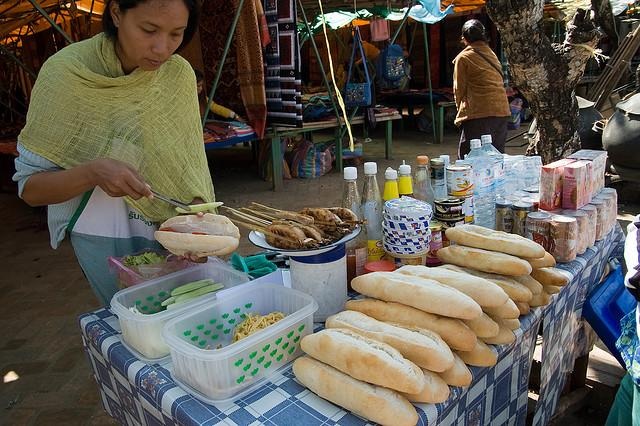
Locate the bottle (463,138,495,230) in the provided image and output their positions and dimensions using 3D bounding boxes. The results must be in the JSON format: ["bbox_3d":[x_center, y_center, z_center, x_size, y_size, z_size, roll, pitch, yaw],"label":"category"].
[{"bbox_3d":[1.051,-0.171,3.053,0.205,0.601,0.190,-2,-2,0],"label":"bottle"}]

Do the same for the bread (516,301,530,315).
[{"bbox_3d":[1.061,0.501,2.425,0.061,0.090,0.021,-22,15,-3],"label":"bread"}]

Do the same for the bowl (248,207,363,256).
[{"bbox_3d":[-0.128,0.016,2.529,0.592,0.264,0.557,-1,8,0],"label":"bowl"}]

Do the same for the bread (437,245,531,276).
[{"bbox_3d":[0.937,0.327,2.632,0.443,0.138,0.132,10,-17,22],"label":"bread"}]

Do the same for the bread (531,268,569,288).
[{"bbox_3d":[1.245,0.348,2.509,0.164,0.049,0.099,-3,31,-15],"label":"bread"}]

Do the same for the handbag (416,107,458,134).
[{"bbox_3d":[3.221,-2.730,13.100,0.878,0.824,0.537,-3,19,4],"label":"handbag"}]

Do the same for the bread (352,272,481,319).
[{"bbox_3d":[0.466,0.395,2.292,0.687,0.207,0.157,6,45,27],"label":"bread"}]

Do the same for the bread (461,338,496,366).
[{"bbox_3d":[0.743,0.685,2.235,0.090,0.061,0.179,-35,47,-27],"label":"bread"}]

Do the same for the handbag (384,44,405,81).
[{"bbox_3d":[1.736,-3.599,10.947,0.435,0.737,0.761,-1,13,13],"label":"handbag"}]

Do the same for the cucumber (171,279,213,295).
[{"bbox_3d":[-0.691,0.395,2.481,0.144,0.029,0.086,-9,14,-26],"label":"cucumber"}]

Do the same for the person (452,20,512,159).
[{"bbox_3d":[2.199,-1.673,6.236,0.753,1.851,0.607,-6,14,-6],"label":"person"}]

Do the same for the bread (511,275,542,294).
[{"bbox_3d":[1.081,0.370,2.455,0.080,0.046,0.151,-27,57,-33],"label":"bread"}]

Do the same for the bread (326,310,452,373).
[{"bbox_3d":[0.421,0.534,2.348,0.595,0.214,0.570,3,8,33],"label":"bread"}]

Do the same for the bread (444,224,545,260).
[{"bbox_3d":[0.939,0.149,2.522,0.400,0.089,0.212,13,3,30],"label":"bread"}]

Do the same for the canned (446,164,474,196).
[{"bbox_3d":[0.854,-0.196,2.836,0.182,0.195,0.178,-16,14,-34],"label":"canned"}]

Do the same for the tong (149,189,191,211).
[{"bbox_3d":[-0.817,-0.072,2.539,0.193,0.142,0.124,-8,14,-16],"label":"tong"}]

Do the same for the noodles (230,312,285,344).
[{"bbox_3d":[-0.316,0.551,2.276,0.228,0.153,0.266,-3,8,-43],"label":"noodles"}]

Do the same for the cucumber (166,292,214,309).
[{"bbox_3d":[-0.673,0.453,2.359,0.149,0.024,0.094,-22,5,-32],"label":"cucumber"}]

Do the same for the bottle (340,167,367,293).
[{"bbox_3d":[0.185,0.080,2.655,0.111,0.739,0.121,3,-2,0],"label":"bottle"}]

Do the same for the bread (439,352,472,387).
[{"bbox_3d":[0.625,0.752,2.169,0.101,0.062,0.185,-7,21,-6],"label":"bread"}]

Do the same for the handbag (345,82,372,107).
[{"bbox_3d":[0.730,-2.340,9.098,0.526,0.469,0.416,-2,13,11],"label":"handbag"}]

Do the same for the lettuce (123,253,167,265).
[{"bbox_3d":[-1.006,0.266,2.637,0.119,0.051,0.109,-13,9,3],"label":"lettuce"}]

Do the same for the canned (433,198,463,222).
[{"bbox_3d":[0.755,-0.019,2.732,0.151,0.105,0.150,2,8,17],"label":"canned"}]

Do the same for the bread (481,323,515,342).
[{"bbox_3d":[0.868,0.608,2.305,0.165,0.066,0.094,0,22,43],"label":"bread"}]

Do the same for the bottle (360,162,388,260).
[{"bbox_3d":[0.330,-0.010,2.728,0.136,0.560,0.134,-3,4,0],"label":"bottle"}]

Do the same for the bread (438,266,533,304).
[{"bbox_3d":[0.899,0.386,2.456,0.216,0.084,0.375,-2,16,-41],"label":"bread"}]
